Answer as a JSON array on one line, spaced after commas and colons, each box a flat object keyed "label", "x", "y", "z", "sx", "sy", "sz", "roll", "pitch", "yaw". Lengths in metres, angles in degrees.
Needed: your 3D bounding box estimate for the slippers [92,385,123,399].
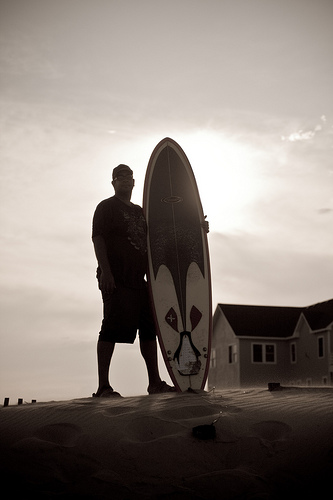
[{"label": "slippers", "x": -0.478, "y": 1.142, "z": 4.157, "sx": 0.299, "sy": 0.111, "sz": 0.089, "roll": 4, "pitch": -7, "yaw": 12}]
